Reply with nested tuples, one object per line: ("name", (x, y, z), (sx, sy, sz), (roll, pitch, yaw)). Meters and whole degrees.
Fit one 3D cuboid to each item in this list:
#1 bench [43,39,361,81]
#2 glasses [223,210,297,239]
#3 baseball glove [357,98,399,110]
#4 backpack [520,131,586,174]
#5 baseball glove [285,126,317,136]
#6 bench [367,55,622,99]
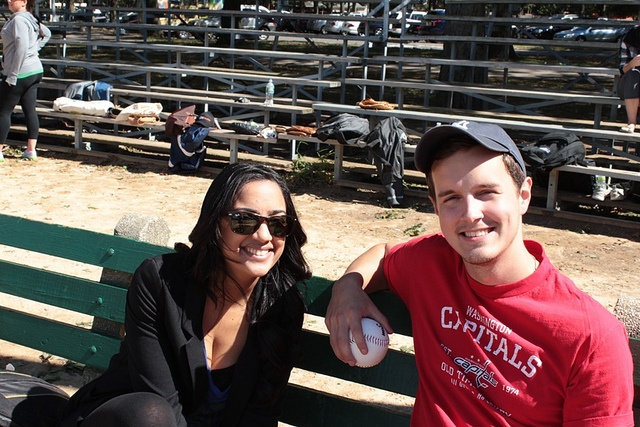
("bench", (-3.762, -4.704, 16.892), (6.835, 0.536, 0.906), (6, 16, 9))
("glasses", (-0.292, 0.053, 2.786), (0.343, 0.126, 0.067), (3, 5, -14))
("baseball glove", (1.059, -1.889, 9.690), (0.363, 0.110, 0.471), (15, 7, 37))
("backpack", (3.384, -0.912, 7.924), (0.737, 0.256, 0.664), (-21, 31, -29))
("baseball glove", (-0.240, -1.441, 9.598), (0.320, 0.112, 0.324), (10, 13, 39))
("bench", (4.467, -3.652, 14.768), (5.857, 1.184, 1.055), (9, 15, 23))
